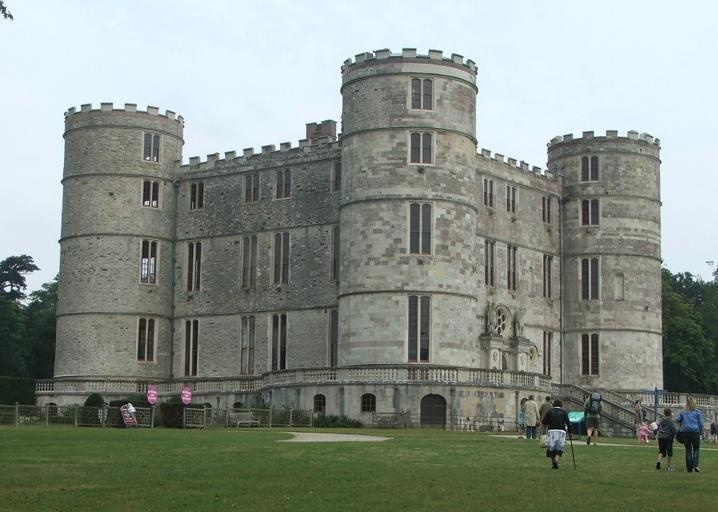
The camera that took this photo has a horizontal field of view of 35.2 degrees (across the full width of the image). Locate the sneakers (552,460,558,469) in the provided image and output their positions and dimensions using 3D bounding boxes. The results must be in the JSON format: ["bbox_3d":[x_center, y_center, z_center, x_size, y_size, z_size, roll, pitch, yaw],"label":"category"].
[{"bbox_3d":[5.821,6.274,33.954,0.126,0.126,0.296,-2,-47,14],"label":"sneakers"}]

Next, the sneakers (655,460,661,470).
[{"bbox_3d":[9.064,6.389,34.535,0.126,0.264,0.125,-1,-1,18],"label":"sneakers"}]

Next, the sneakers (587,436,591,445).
[{"bbox_3d":[9.082,7.325,44.847,0.186,0.217,0.545,-2,-28,5],"label":"sneakers"}]

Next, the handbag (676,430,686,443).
[{"bbox_3d":[9.729,5.510,34.426,0.408,0.386,0.404,-2,-1,23],"label":"handbag"}]

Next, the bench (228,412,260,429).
[{"bbox_3d":[-5.880,8.218,56.878,1.525,0.530,0.817,-2,-7,15],"label":"bench"}]

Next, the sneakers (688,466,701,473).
[{"bbox_3d":[10.030,6.420,34.010,0.465,0.159,0.138,-5,-8,-35],"label":"sneakers"}]
